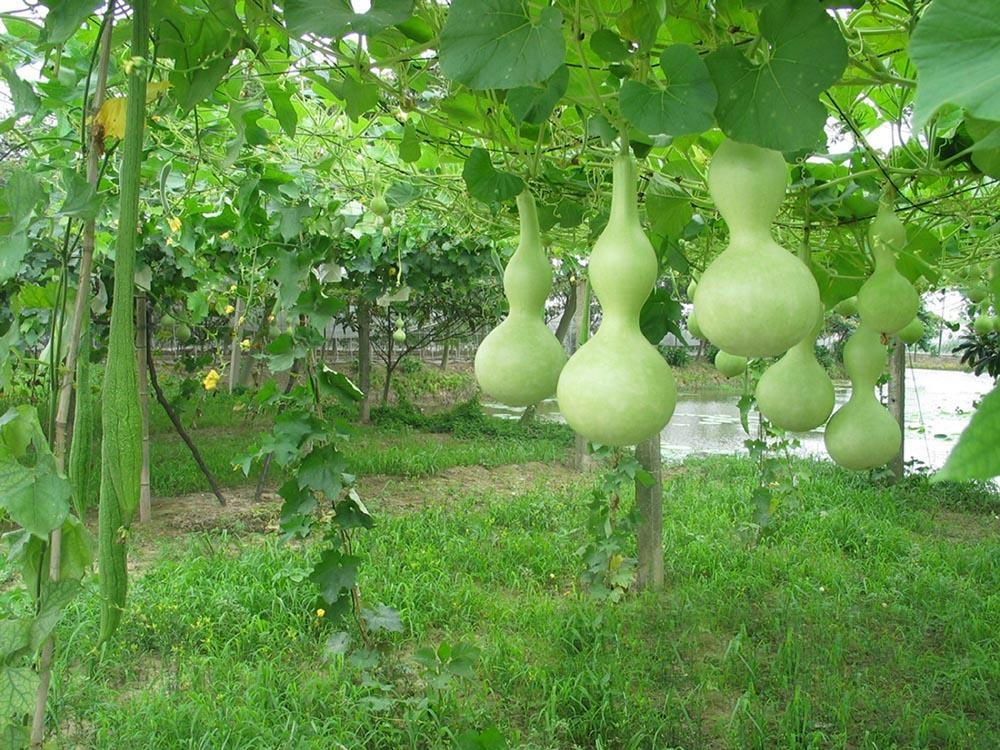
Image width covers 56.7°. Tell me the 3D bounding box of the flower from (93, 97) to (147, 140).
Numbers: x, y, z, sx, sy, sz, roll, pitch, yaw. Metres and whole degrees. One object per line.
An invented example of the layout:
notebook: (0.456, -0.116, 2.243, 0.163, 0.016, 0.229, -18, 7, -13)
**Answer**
flower: (-0.754, -0.509, 1.832, 0.096, 0.125, 0.044, 2, -19, -30)

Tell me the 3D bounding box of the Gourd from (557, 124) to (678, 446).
Gourd: (0.225, -0.148, 1.759, 0.222, 0.572, 0.196, 2, 4, 2)

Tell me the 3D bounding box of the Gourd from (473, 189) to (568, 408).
Gourd: (0.044, -0.152, 1.856, 0.178, 0.457, 0.277, 2, 4, 1)
